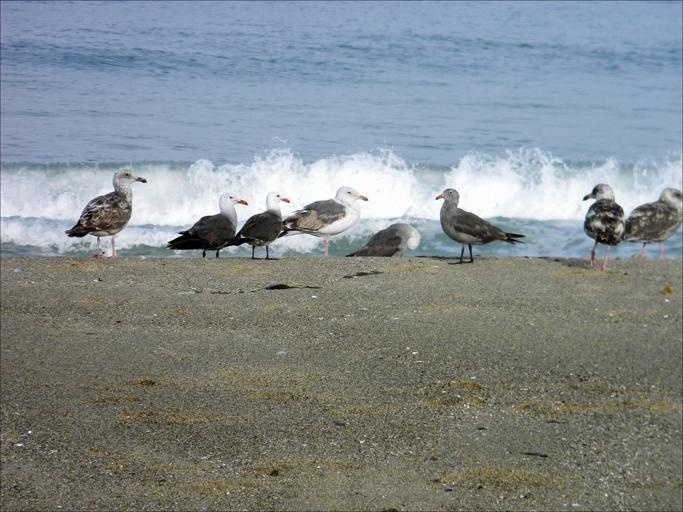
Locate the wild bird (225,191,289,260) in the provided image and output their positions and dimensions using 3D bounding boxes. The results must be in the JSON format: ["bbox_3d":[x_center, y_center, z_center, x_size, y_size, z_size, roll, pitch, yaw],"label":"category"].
[{"bbox_3d":[-1.240,-0.411,14.893,0.567,0.846,1.319,11,16,40],"label":"wild bird"}]

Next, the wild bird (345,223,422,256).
[{"bbox_3d":[0.724,-0.226,14.902,1.351,0.462,0.381,-8,20,3],"label":"wild bird"}]

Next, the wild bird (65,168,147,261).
[{"bbox_3d":[-3.468,-0.612,15.001,0.685,1.191,1.438,14,14,28],"label":"wild bird"}]
